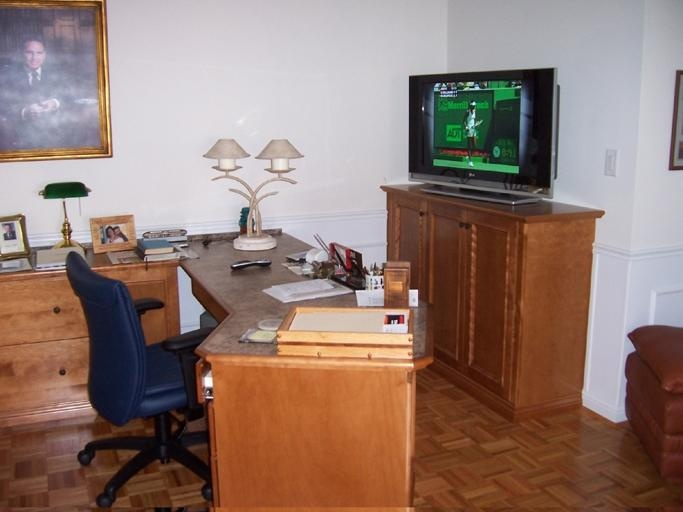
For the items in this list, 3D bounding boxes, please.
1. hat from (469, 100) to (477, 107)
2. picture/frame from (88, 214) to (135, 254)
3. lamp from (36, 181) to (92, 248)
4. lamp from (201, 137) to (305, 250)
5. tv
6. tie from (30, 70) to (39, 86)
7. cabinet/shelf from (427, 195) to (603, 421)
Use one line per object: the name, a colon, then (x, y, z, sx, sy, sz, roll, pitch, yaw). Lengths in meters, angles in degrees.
hat: (0.908, -1.047, 3.902, 0.028, 0.040, 0.046, -7, 9, -43)
picture/frame: (-1.638, -0.149, 4.044, 0.287, 0.231, 0.023, -7, 6, -25)
lamp: (-2.017, -0.308, 4.066, 0.448, 0.547, 0.245, -5, 16, -36)
lamp: (-0.709, -0.485, 4.297, 0.935, 0.858, 0.414, -1, 10, -12)
tv: (0.981, -0.856, 4.002, 0.345, 0.881, 1.288, -15, 20, -32)
tie: (-2.140, -1.239, 3.937, 0.069, 0.089, 0.023, 7, 4, -18)
cabinet/shelf: (1.155, 0.321, 4.213, 0.613, 1.340, 1.428, -2, 5, -16)
